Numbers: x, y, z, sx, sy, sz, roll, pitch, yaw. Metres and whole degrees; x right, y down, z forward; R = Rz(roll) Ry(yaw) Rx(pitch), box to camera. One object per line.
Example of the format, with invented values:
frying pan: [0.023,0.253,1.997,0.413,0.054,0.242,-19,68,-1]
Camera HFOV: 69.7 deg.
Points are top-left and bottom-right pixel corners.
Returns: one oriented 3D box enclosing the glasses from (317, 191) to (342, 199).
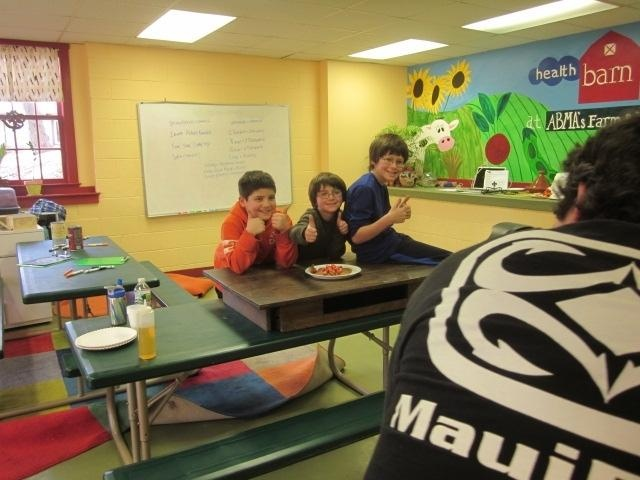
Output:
glasses: [0.051,-0.227,2.300,0.126,0.040,0.042,-3,12,-6]

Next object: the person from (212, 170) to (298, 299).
person: [-0.361,-0.026,2.491,0.454,0.677,0.675,-3,15,-17]

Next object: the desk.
desk: [-1.683,0.219,2.951,0.417,0.223,0.985,-11,24,-30]

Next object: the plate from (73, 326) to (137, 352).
plate: [-0.807,0.369,1.720,0.186,0.030,0.187,2,12,14]
